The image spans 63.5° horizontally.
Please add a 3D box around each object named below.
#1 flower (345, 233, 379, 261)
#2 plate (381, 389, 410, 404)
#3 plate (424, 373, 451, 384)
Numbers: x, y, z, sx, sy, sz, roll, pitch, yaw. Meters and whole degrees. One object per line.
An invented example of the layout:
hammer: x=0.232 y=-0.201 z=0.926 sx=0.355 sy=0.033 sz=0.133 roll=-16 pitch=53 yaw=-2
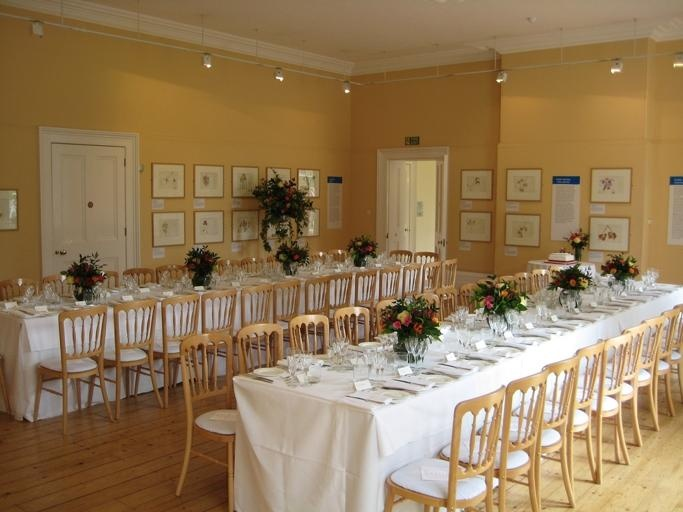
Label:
flower: x=0.321 y=-0.134 z=8.847 sx=0.409 sy=0.485 sz=0.439 roll=-2 pitch=6 yaw=-21
plate: x=0.353 y=0.892 z=3.518 sx=0.164 sy=0.011 sz=0.182 roll=0 pitch=10 yaw=0
plate: x=0.678 y=0.854 z=3.830 sx=0.165 sy=0.018 sz=0.213 roll=1 pitch=10 yaw=7
